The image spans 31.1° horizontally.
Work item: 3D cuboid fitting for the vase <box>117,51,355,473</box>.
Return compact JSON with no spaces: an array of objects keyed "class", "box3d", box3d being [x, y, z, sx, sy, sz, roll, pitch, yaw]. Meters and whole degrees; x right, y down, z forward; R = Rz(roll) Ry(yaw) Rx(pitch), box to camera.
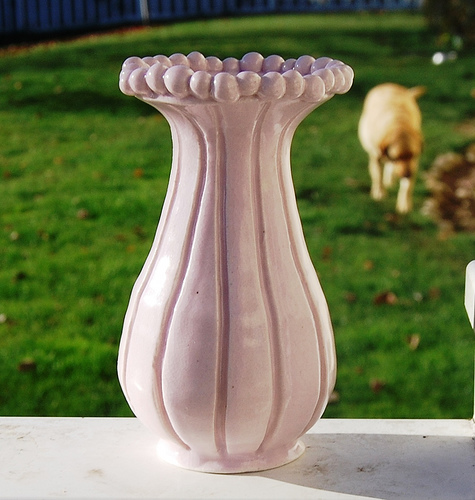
[{"class":"vase","box3d":[-0.013,0.034,1.136,0.283,0.550,0.130,-2,11,-7]}]
